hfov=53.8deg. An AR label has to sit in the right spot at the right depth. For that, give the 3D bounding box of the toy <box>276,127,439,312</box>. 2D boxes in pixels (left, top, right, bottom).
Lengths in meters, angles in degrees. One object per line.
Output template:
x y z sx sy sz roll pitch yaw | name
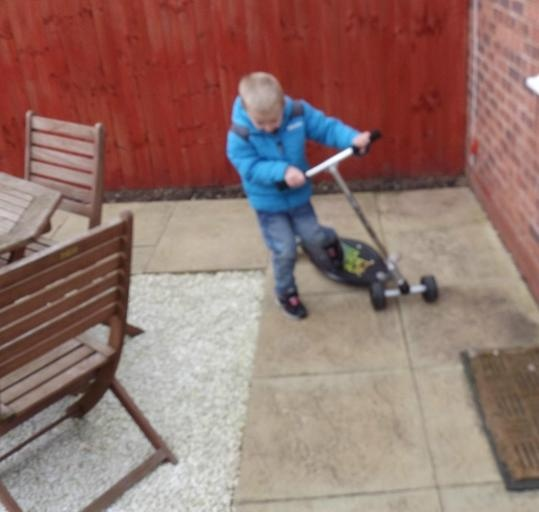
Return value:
0.564 -0.206 3.251 0.514 0.766 0.810 -34 57 -6 | toy

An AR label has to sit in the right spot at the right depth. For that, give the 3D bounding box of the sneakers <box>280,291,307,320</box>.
0.131 0.268 2.961 0.089 0.093 0.199 -22 53 -24 | sneakers

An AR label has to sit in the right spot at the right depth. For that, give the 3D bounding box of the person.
0.132 -0.291 2.772 0.609 1.367 0.497 -16 41 -14 | person
